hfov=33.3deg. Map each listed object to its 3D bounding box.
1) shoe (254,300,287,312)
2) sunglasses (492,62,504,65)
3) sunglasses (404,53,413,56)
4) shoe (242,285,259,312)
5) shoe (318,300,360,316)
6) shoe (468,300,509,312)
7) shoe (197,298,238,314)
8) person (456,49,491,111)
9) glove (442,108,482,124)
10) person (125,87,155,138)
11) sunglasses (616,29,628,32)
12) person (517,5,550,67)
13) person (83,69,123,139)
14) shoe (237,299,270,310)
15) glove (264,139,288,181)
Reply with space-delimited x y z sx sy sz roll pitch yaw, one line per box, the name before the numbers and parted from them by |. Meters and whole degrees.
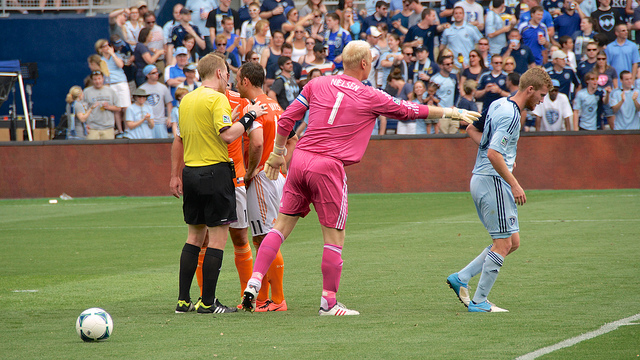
shoe | -1.077 2.768 23.510 0.743 0.279 0.248 1 -6 2
sunglasses | 5.433 -3.529 32.582 0.324 0.060 0.098 -4 6 -31
sunglasses | 2.812 -3.940 33.749 0.290 0.082 0.130 -6 6 -41
shoe | -1.480 2.558 22.766 0.257 0.625 0.314 3 16 10
shoe | 0.378 2.777 23.192 0.950 0.358 0.310 0 1 -3
shoe | 3.645 2.714 23.274 0.870 0.332 0.297 0 -3 -1
shoe | -2.282 2.739 23.382 1.015 0.386 0.301 0 -2 -8
person | 4.724 -2.479 33.012 0.946 2.972 0.941 4 6 9
glove | 3.046 -1.379 23.239 0.933 0.363 0.341 -4 6 -28
person | -5.749 -2.095 33.874 0.945 1.574 1.388 -2 5 -10
sunglasses | 9.427 -4.626 33.321 0.214 0.078 0.086 -2 5 -6
person | 6.812 -4.574 34.132 0.959 1.867 0.624 -1 5 11
person | -6.977 -2.338 33.920 1.186 2.141 1.466 -5 6 -35
shoe | -1.475 2.698 23.348 0.731 0.303 0.241 -7 1 -3
glove | -0.997 -0.438 23.288 0.470 0.852 0.278 -2 5 -5
